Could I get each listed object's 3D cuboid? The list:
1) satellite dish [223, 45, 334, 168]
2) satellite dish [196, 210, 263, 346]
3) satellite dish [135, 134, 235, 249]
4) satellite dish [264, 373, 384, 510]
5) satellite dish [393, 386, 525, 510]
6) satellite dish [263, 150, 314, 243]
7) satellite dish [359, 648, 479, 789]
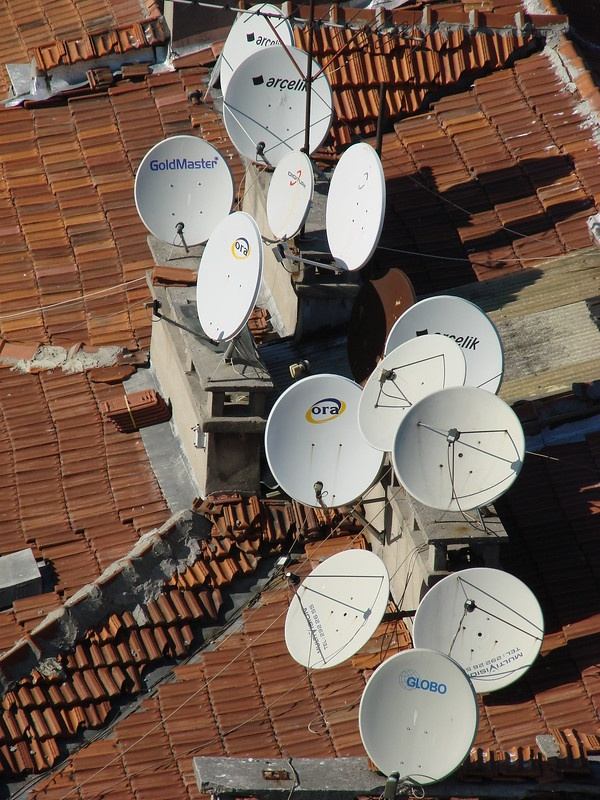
[{"bbox_3d":[-0.430,-5.104,21.130,1.834,1.633,1.461,0,56,-3],"label":"satellite dish"},{"bbox_3d":[-1.056,-1.712,17.759,0.360,1.871,1.780,15,51,-34],"label":"satellite dish"},{"bbox_3d":[-1.976,-3.480,20.163,1.441,1.269,1.429,34,61,19],"label":"satellite dish"},{"bbox_3d":[0.282,0.563,16.649,1.514,1.271,1.418,-12,57,-11],"label":"satellite dish"},{"bbox_3d":[1.923,0.641,15.203,1.664,0.628,1.531,-26,68,4],"label":"satellite dish"},{"bbox_3d":[-0.193,-3.229,19.706,0.072,1.496,1.419,11,61,-26],"label":"satellite dish"},{"bbox_3d":[1.317,3.517,13.602,1.292,0.781,1.274,12,55,5],"label":"satellite dish"}]
